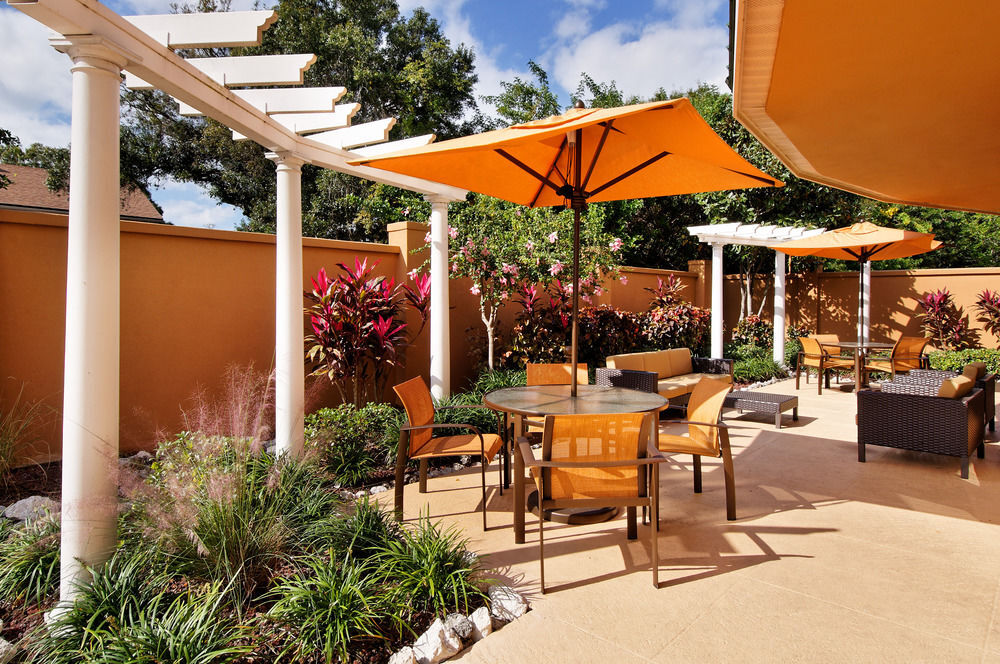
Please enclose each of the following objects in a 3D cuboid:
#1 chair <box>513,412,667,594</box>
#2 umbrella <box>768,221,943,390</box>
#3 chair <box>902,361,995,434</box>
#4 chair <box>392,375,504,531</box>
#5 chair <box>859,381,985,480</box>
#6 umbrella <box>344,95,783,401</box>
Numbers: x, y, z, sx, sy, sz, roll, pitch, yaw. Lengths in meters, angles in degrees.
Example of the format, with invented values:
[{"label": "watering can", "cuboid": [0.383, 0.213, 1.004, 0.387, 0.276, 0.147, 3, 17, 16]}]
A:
[{"label": "chair", "cuboid": [0.795, 1.365, 6.507, 1.315, 1.587, 1.319, -4, 9, -19]}, {"label": "umbrella", "cuboid": [5.970, -0.697, 12.157, 2.293, 2.120, 2.009, -11, 9, -9]}, {"label": "chair", "cuboid": [5.718, 0.647, 9.306, 0.893, 0.992, 1.321, 1, 3, 45]}, {"label": "chair", "cuboid": [-0.479, 1.109, 7.156, 1.034, 1.240, 1.137, 1, 4, 18]}, {"label": "chair", "cuboid": [4.795, 1.025, 8.300, 0.824, 0.815, 1.113, -12, 11, -39]}, {"label": "umbrella", "cuboid": [0.830, -0.701, 6.794, 3.210, 2.596, 2.048, -1, 2, -7]}]
